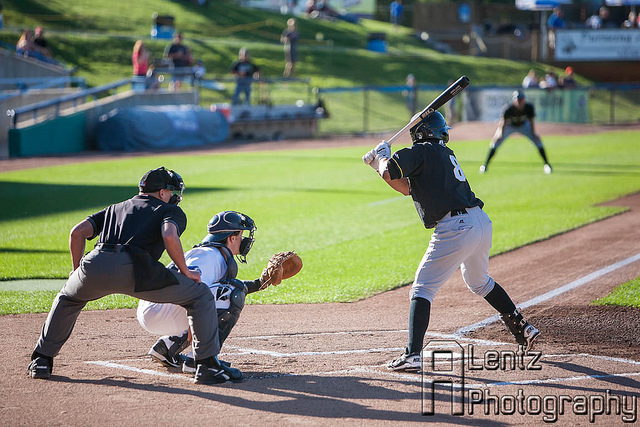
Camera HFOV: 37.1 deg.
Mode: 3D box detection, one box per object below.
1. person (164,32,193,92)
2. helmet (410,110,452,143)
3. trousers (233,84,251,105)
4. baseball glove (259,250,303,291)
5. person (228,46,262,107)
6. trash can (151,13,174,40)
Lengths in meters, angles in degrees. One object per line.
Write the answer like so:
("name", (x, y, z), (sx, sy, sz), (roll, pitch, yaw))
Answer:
("person", (-4.180, -4.477, 27.943), (0.779, 1.516, 0.619), (4, -6, -12))
("helmet", (1.620, -1.300, 14.257), (0.593, 0.476, 0.259), (1, 14, -3))
("trousers", (-2.558, -3.910, 31.145), (0.198, 0.651, 0.926), (8, 15, 24))
("baseball glove", (-0.602, 0.870, 14.533), (0.453, 0.720, 0.390), (34, -6, -6))
("person", (-2.478, -4.485, 31.158), (1.071, 1.939, 1.067), (-1, -3, -4))
("trash can", (-4.193, -5.017, 25.805), (0.578, 0.615, 0.719), (2, 2, 1))
